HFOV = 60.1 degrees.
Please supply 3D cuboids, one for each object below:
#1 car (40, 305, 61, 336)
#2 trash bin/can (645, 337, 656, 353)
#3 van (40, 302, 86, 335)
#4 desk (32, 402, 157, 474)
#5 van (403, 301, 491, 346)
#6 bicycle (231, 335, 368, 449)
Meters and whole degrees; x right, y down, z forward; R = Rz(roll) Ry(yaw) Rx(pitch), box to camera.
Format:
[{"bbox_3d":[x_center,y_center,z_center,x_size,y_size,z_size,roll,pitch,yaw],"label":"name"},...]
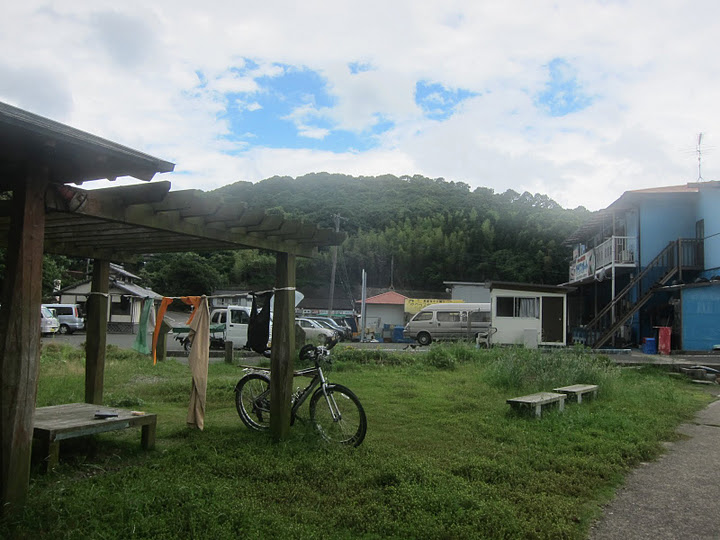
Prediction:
[{"bbox_3d":[-15.167,2.487,30.295,0.606,1.385,2.414,4,-7,-25],"label":"car"},{"bbox_3d":[10.107,2.656,21.757,0.432,0.575,0.463,3,-7,23],"label":"trash bin/can"},{"bbox_3d":[-16.474,2.749,34.988,2.467,1.467,1.587,6,-7,-3],"label":"van"},{"bbox_3d":[-3.490,2.143,8.022,1.458,0.655,1.126,7,-9,-37],"label":"desk"},{"bbox_3d":[3.976,2.455,28.218,2.993,1.556,1.826,1,-5,9],"label":"van"},{"bbox_3d":[-0.825,1.757,9.205,2.014,1.432,1.427,0,-6,9],"label":"bicycle"}]
